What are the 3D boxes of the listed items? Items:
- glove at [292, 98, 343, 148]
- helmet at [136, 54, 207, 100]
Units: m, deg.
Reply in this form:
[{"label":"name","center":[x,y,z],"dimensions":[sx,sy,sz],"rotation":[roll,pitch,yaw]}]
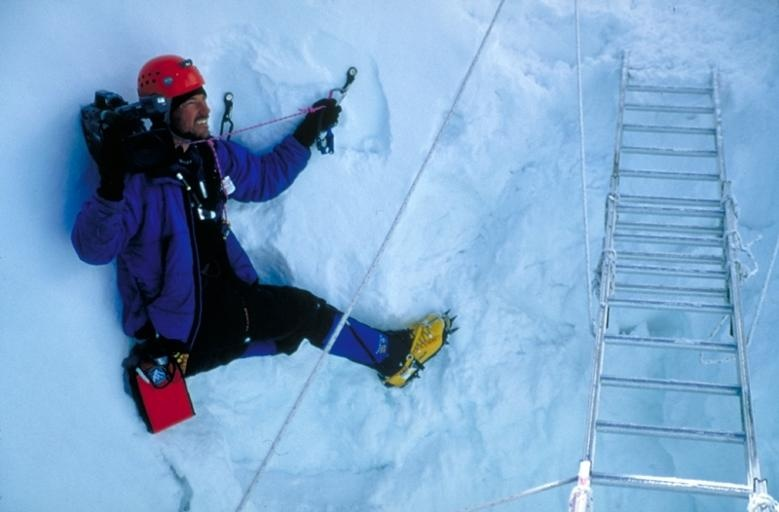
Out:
[{"label":"glove","center":[-0.553,-1.057,7.635],"dimensions":[0.427,0.252,0.157],"rotation":[-47,17,8]},{"label":"helmet","center":[-1.577,-1.265,7.098],"dimensions":[0.414,0.360,0.343],"rotation":[15,19,8]}]
